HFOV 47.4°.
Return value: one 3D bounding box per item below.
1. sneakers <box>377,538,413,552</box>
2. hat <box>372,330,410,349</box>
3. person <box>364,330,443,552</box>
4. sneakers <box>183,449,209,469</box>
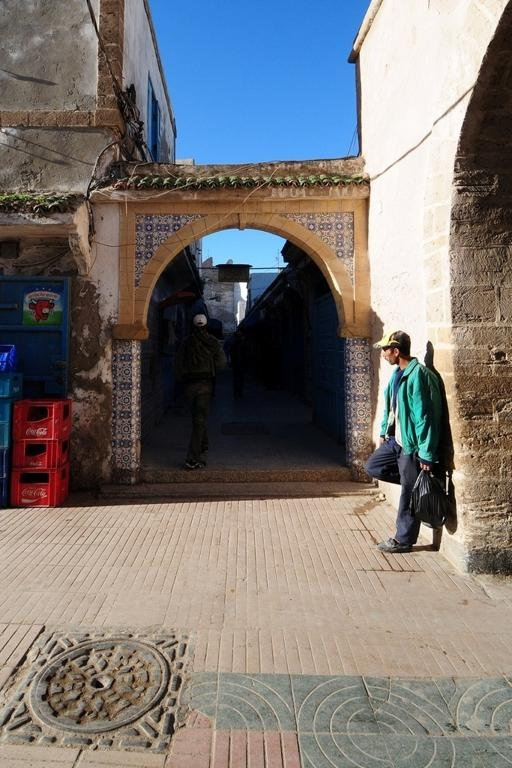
[{"bbox_3d":[1.030,1.159,4.293,0.218,0.088,0.101,4,-1,-3],"label":"sneakers"},{"bbox_3d":[1.049,-0.348,4.441,0.215,0.127,0.144,9,9,17],"label":"hat"},{"bbox_3d":[1.102,0.421,4.322,0.439,1.605,0.782,0,6,0],"label":"person"},{"bbox_3d":[-0.649,0.847,6.489,0.109,0.135,0.310,2,3,13],"label":"sneakers"}]
